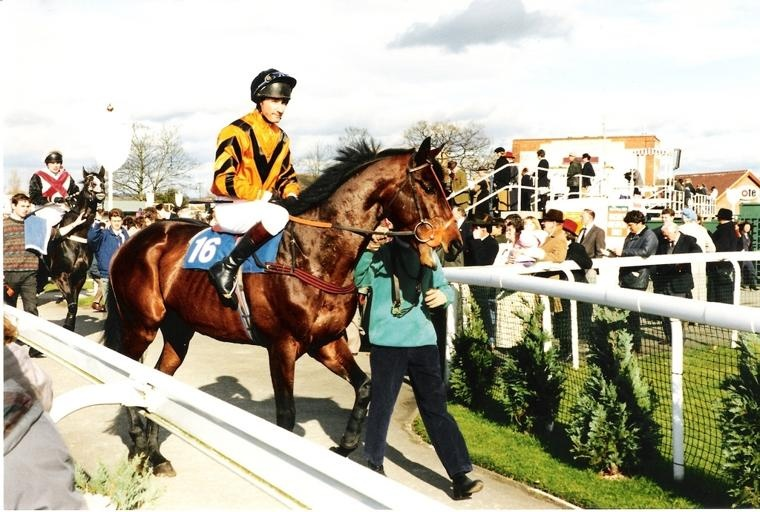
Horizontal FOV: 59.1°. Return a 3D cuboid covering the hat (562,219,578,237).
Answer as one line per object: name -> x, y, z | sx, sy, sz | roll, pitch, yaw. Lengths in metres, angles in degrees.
hat -> 2.348, -0.376, 8.397 | 0.200, 0.084, 0.234 | 24, 7, -11

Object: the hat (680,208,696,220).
hat -> 7.736, -1.067, 16.873 | 0.352, 0.170, 0.466 | 9, 22, -11

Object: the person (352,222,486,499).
person -> 0.202, 0.704, 4.408 | 0.775, 1.640, 0.389 | 0, 6, 4

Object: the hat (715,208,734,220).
hat -> 6.458, -0.793, 12.616 | 0.230, 0.122, 0.323 | 4, 11, 9

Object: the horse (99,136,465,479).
horse -> -0.899, 0.429, 4.831 | 3.064, 2.191, 0.707 | -3, -6, 26

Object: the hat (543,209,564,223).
hat -> 2.088, -0.487, 8.112 | 0.190, 0.101, 0.170 | 6, 5, 39
